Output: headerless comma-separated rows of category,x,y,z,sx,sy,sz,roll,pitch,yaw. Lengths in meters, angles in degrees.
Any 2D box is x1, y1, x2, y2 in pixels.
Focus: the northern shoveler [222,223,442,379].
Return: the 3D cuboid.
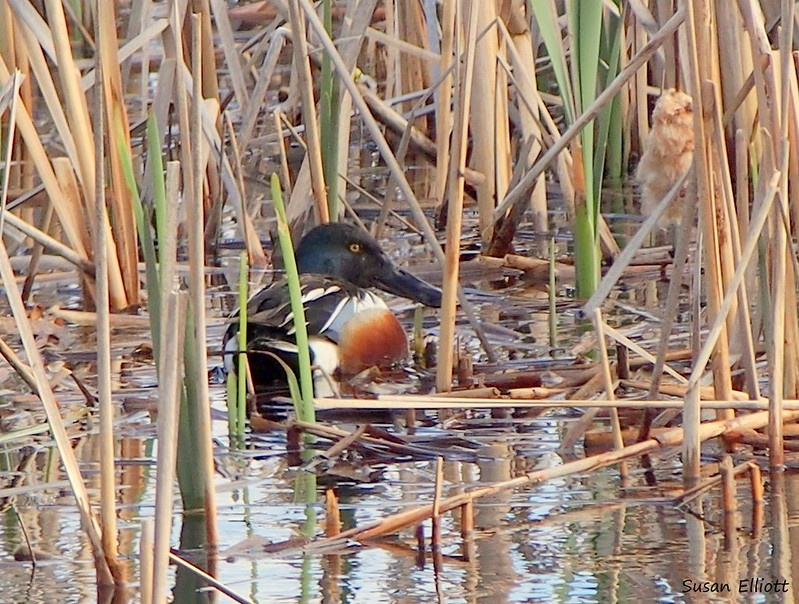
northern shoveler,-0.242,0.037,3.066,0.432,0.470,0.811,1,-2,24
